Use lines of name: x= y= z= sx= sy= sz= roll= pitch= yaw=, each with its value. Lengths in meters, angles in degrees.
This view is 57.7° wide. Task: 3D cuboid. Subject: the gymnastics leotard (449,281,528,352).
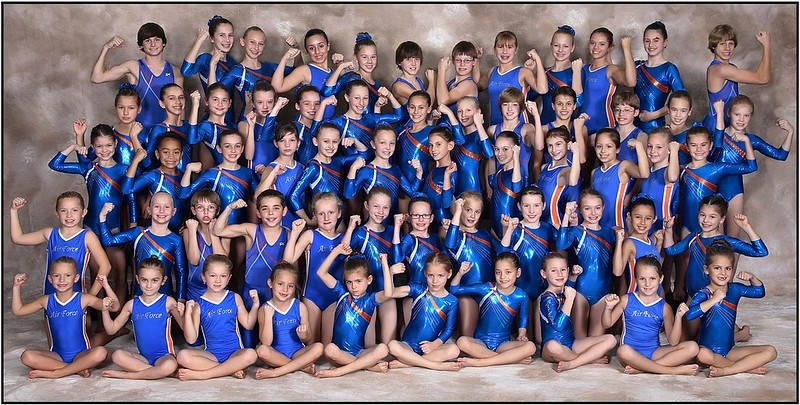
gymnastics leotard: x=1.104 y=1.451 z=8.890 sx=1.147 sy=0.867 sz=0.609 roll=7 pitch=-1 yaw=-10
